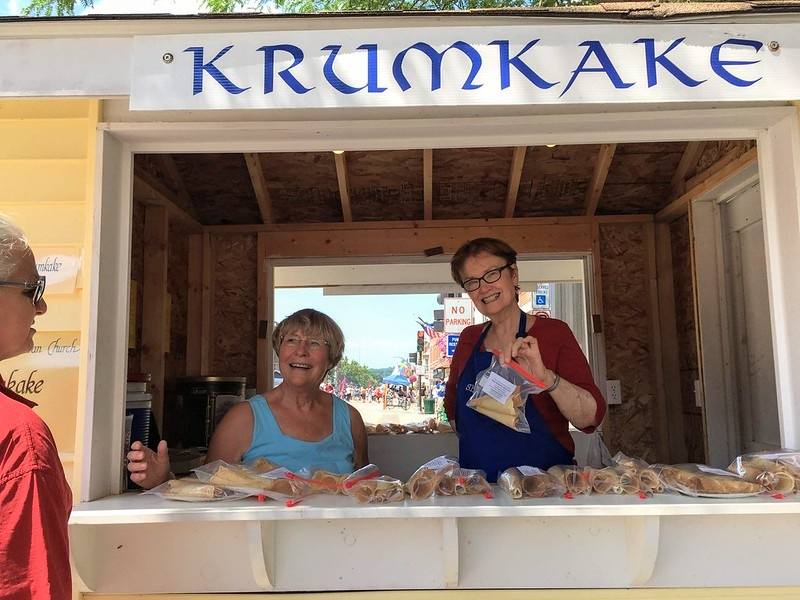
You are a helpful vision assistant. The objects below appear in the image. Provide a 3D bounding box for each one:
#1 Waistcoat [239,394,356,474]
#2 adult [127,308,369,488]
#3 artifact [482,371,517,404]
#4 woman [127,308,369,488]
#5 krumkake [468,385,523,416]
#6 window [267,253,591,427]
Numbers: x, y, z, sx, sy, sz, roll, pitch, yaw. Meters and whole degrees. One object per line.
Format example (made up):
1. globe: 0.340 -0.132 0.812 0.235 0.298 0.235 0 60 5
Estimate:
1. Waistcoat: -0.459 0.595 2.931 0.334 0.280 0.167 7 -33 -29
2. adult: -0.826 0.519 3.555 0.788 1.118 0.453 10 -37 -13
3. artifact: 0.396 0.347 2.654 0.125 0.128 0.089 1 -10 0
4. woman: -0.826 0.519 3.555 0.788 1.118 0.453 10 -37 -13
5. krumkake: 0.387 0.420 2.716 0.152 0.046 0.126 16 -29 -21
6. window: 0.112 0.226 3.893 1.434 0.749 0.060 -1 -12 2
